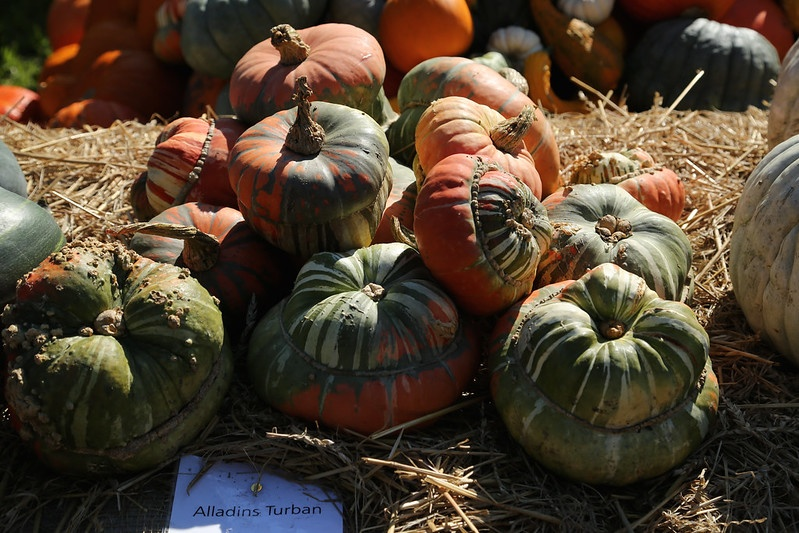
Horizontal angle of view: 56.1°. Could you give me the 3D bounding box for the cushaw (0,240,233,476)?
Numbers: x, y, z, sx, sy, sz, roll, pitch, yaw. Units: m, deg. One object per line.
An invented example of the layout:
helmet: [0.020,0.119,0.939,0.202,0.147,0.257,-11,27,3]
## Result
cushaw: [-1.557,0.608,4.082,1.114,0.794,1.092,32,60,-1]
